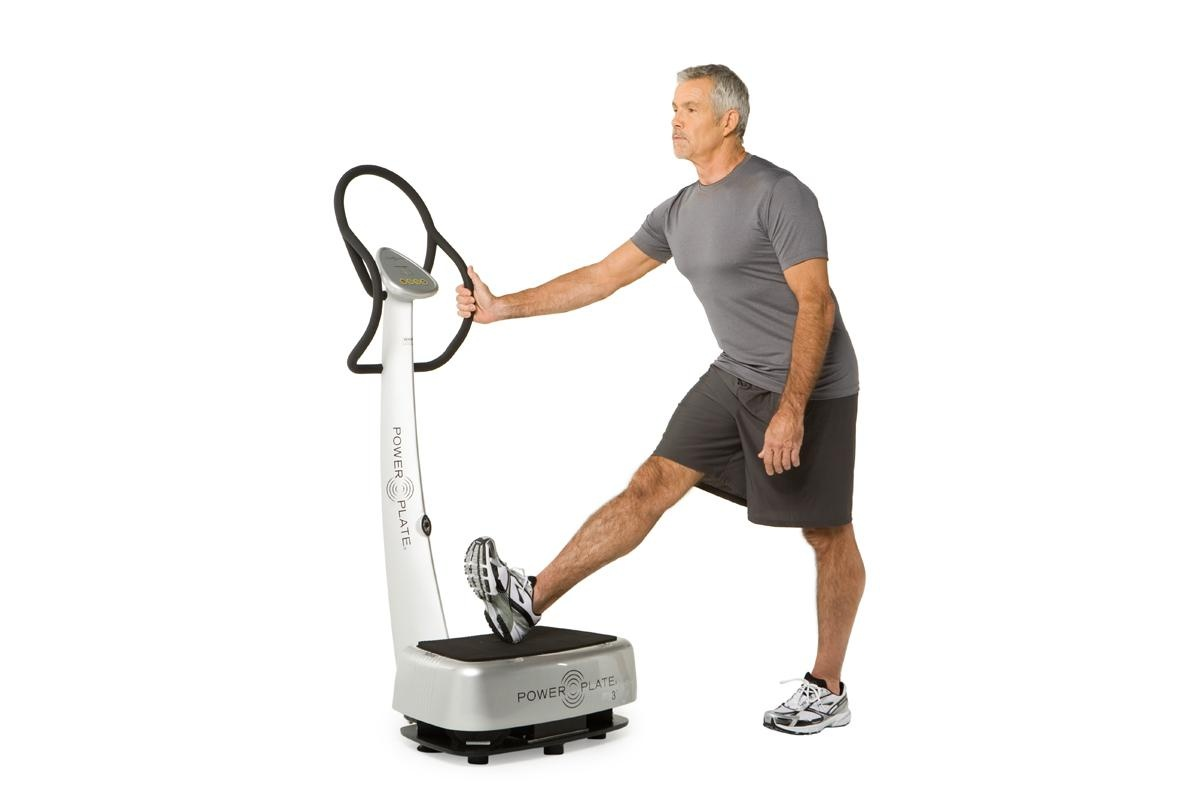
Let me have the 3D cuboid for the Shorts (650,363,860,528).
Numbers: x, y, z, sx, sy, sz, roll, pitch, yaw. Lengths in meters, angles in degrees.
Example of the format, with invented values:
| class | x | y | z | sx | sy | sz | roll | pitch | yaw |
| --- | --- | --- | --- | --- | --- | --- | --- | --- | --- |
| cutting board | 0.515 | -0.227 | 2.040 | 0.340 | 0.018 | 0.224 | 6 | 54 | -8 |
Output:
| class | x | y | z | sx | sy | sz | roll | pitch | yaw |
| --- | --- | --- | --- | --- | --- | --- | --- | --- | --- |
| Shorts | 0.601 | 0.103 | 4.382 | 0.794 | 0.648 | 0.441 | 11 | 6 | 31 |

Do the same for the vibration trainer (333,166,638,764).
| class | x | y | z | sx | sy | sz | roll | pitch | yaw |
| --- | --- | --- | --- | --- | --- | --- | --- | --- | --- |
| vibration trainer | -0.480 | 0.171 | 4.038 | 0.822 | 1.543 | 0.625 | -4 | -2 | -27 |

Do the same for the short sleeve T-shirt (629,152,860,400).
| class | x | y | z | sx | sy | sz | roll | pitch | yaw |
| --- | --- | --- | --- | --- | --- | --- | --- | --- | --- |
| short sleeve T-shirt | 0.572 | -0.412 | 4.017 | 0.353 | 0.727 | 0.905 | -33 | 24 | -34 |

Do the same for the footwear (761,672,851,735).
| class | x | y | z | sx | sy | sz | roll | pitch | yaw |
| --- | --- | --- | --- | --- | --- | --- | --- | --- | --- |
| footwear | 0.788 | 1.139 | 4.259 | 0.428 | 0.187 | 0.166 | 3 | 2 | -40 |
